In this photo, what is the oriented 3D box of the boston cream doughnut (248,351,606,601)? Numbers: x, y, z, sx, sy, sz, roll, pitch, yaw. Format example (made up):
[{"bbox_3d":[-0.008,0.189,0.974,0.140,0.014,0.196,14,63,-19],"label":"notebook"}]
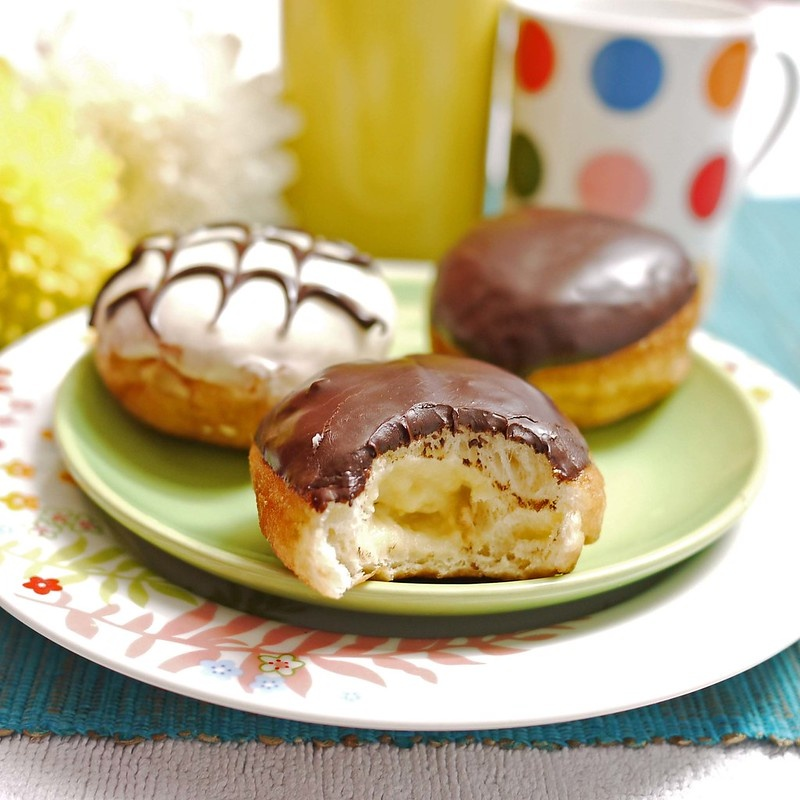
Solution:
[{"bbox_3d":[0.000,0.049,0.725,0.258,0.127,0.318,17,15,41],"label":"boston cream doughnut"}]

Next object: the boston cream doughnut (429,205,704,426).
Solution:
[{"bbox_3d":[0.120,-0.100,0.949,0.264,0.121,0.246,-17,30,-39],"label":"boston cream doughnut"}]
